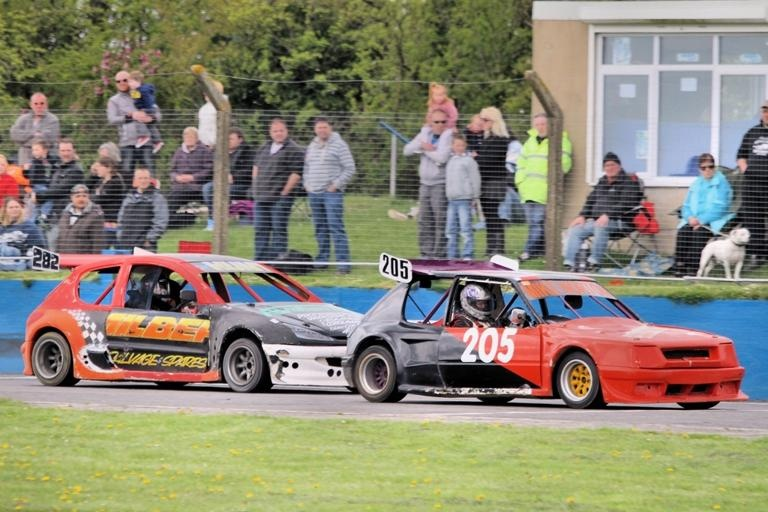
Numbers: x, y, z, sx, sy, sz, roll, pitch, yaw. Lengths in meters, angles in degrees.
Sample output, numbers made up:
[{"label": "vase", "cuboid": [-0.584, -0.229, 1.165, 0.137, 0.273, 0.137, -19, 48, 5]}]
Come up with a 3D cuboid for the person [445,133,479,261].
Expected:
[{"label": "person", "cuboid": [1.203, -0.883, 23.347, 0.467, 2.032, 0.783, -7, 15, -25]}]

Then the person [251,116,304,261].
[{"label": "person", "cuboid": [-1.690, -1.048, 23.451, 0.778, 2.199, 0.209, -1, 1, 0]}]

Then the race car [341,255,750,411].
[{"label": "race car", "cuboid": [2.122, 0.971, 20.539, 4.491, 1.269, 2.553, -3, -5, 32]}]

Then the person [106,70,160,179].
[{"label": "person", "cuboid": [-4.164, -2.175, 24.148, 0.747, 1.737, 0.692, 13, -18, -22]}]

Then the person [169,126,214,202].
[{"label": "person", "cuboid": [-3.048, -1.473, 23.867, 0.676, 1.193, 0.583, 1, -6, 4]}]

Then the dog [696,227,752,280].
[{"label": "dog", "cuboid": [5.424, -0.021, 22.440, 1.258, 0.768, 0.506, -8, -16, 33]}]

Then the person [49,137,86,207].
[{"label": "person", "cuboid": [-5.163, -1.343, 24.036, 0.561, 0.967, 0.432, 2, -10, 10]}]

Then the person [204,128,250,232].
[{"label": "person", "cuboid": [-2.468, -1.205, 23.500, 0.796, 1.588, 0.235, -1, 1, 1]}]

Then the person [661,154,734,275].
[{"label": "person", "cuboid": [4.894, -0.574, 22.853, 0.843, 1.744, 0.653, 3, -4, 42]}]

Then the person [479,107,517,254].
[{"label": "person", "cuboid": [1.685, -1.148, 23.086, 0.558, 2.279, 0.364, -1, 1, 11]}]

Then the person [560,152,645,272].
[{"label": "person", "cuboid": [3.392, -0.663, 23.001, 1.206, 1.656, 0.920, -1, 2, -38]}]
